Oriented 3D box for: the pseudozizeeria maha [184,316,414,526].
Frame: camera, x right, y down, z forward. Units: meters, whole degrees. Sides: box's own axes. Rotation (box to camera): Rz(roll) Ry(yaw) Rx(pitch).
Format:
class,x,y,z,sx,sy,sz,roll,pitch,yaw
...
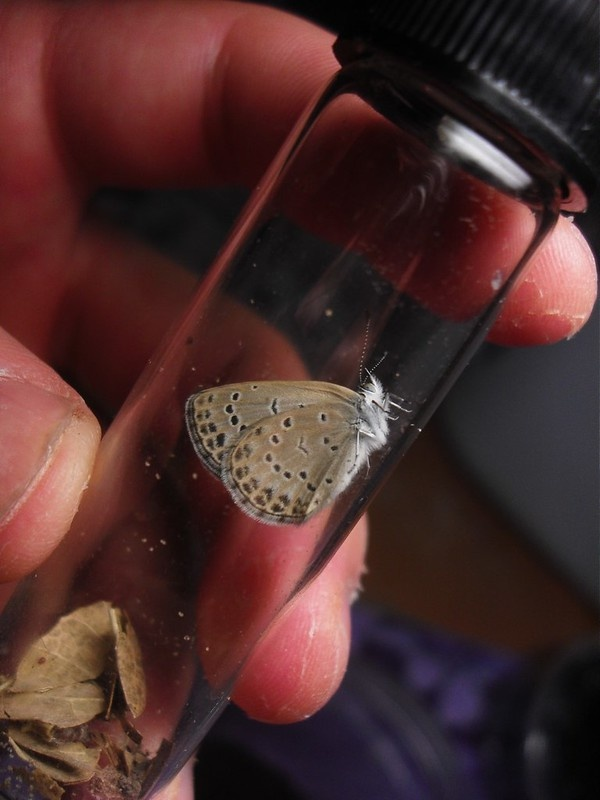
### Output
class,x,y,z,sx,sy,sz,roll,pitch,yaw
pseudozizeeria maha,0.006,0.015,0.483,0.097,0.131,0.068,-31,95,-5
